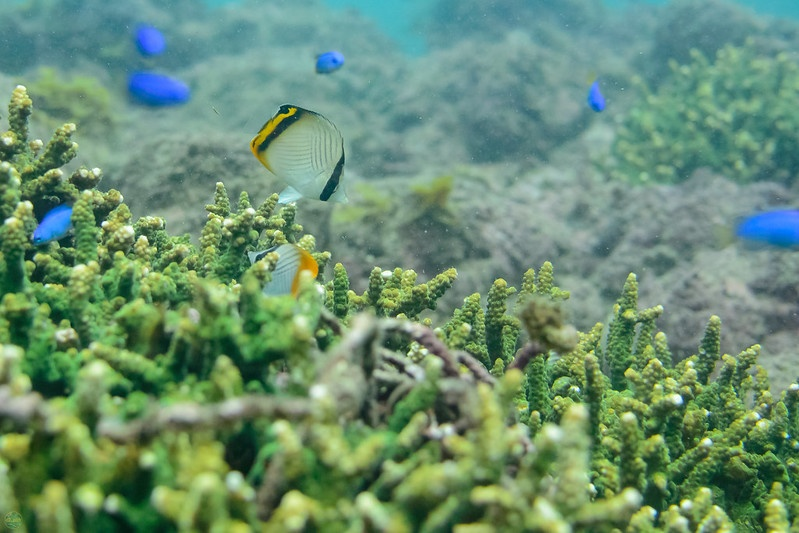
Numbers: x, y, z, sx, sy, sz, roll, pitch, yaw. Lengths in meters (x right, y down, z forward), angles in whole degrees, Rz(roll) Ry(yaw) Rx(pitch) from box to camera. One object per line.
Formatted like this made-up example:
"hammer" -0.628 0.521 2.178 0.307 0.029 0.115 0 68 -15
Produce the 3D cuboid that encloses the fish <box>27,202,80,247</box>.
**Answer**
"fish" -3.607 -0.442 8.461 0.218 0.120 0.476 40 65 -5
